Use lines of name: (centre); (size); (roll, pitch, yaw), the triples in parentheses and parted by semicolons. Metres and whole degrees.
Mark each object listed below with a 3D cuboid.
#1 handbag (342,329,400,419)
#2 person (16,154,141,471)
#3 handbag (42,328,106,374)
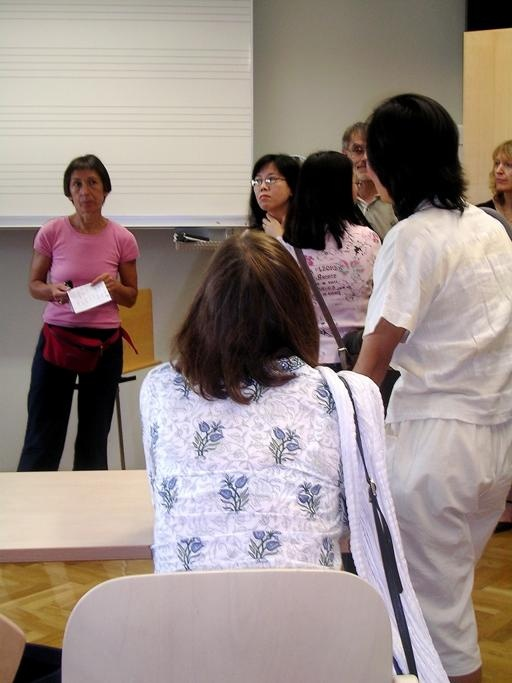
handbag: (0.313, 0.079, 1.857); (0.173, 0.237, 0.237); (1, -2, 6)
person: (-0.937, -0.118, 3.125); (0.697, 1.693, 0.539); (-5, 14, -22)
handbag: (-0.934, 0.046, 3.052); (0.262, 0.161, 0.220); (10, 24, -4)
